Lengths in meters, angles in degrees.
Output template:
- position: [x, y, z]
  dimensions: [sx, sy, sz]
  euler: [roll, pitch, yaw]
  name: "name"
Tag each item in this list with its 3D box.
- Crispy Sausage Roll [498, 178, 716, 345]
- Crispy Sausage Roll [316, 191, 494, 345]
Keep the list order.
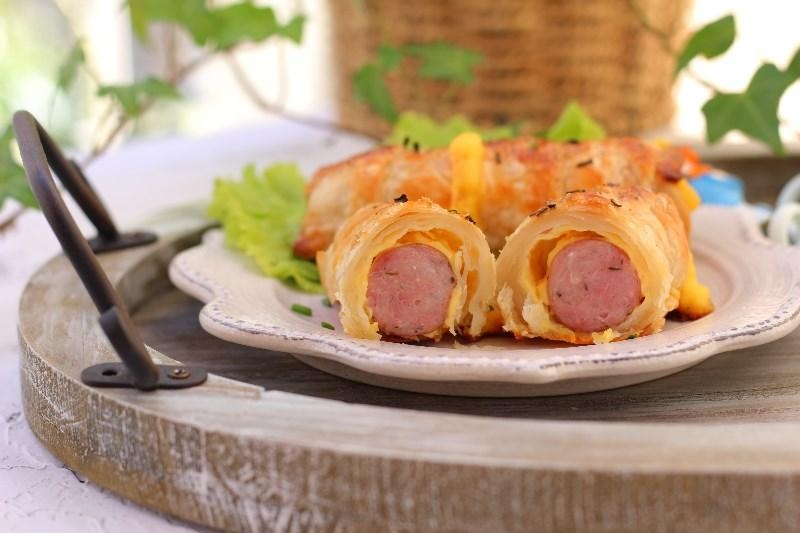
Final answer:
- position: [0.414, 0.007, 1.817]
  dimensions: [0.350, 0.160, 0.436]
  euler: [-7, 18, 10]
  name: "Crispy Sausage Roll"
- position: [0.046, -0.012, 1.857]
  dimensions: [0.338, 0.175, 0.344]
  euler: [1, 14, 0]
  name: "Crispy Sausage Roll"
